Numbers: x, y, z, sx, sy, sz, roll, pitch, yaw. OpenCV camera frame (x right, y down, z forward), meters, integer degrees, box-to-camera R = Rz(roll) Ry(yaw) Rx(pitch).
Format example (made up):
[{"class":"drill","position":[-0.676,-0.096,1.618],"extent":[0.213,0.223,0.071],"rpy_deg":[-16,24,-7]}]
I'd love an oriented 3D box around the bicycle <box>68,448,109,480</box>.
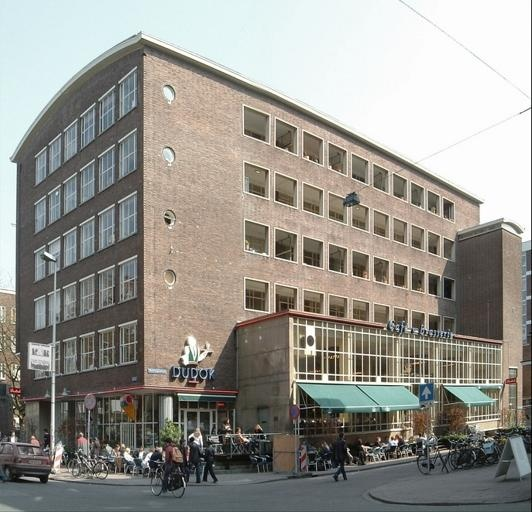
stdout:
[{"class":"bicycle","position":[-8.511,10.159,44.294],"extent":[1.997,1.350,1.042],"rpy_deg":[-6,-11,30]}]
